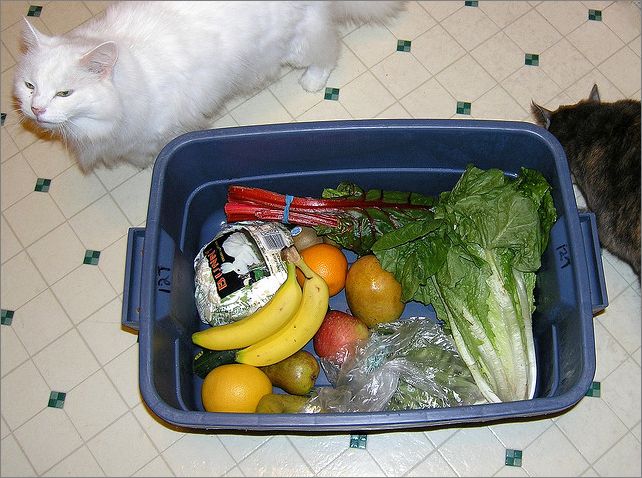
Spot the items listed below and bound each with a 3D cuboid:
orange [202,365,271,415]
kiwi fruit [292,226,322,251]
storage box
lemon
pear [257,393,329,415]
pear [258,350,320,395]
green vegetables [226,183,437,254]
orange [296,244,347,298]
[{"bbox_3d":[-0.253,0.450,1.723,0.091,0.070,0.106,30,46,34],"label":"orange"},{"bbox_3d":[-0.048,-0.004,1.913,0.079,0.066,0.072,-14,67,-2],"label":"kiwi fruit"},{"bbox_3d":[0.149,0.118,1.805,1.253,0.412,0.983,-2,88,-2],"label":"storage box"},{"bbox_3d":[0.181,0.154,1.871,0.151,0.166,0.236,-6,99,21],"label":"lemon"},{"bbox_3d":[-0.098,0.495,1.736,0.166,0.080,0.072,12,79,-16],"label":"pear"},{"bbox_3d":[-0.098,0.402,1.789,0.169,0.103,0.118,1,88,21],"label":"pear"},{"bbox_3d":[0.026,-0.090,2.014,0.779,0.242,0.282,1,39,4],"label":"green vegetables"},{"bbox_3d":[0.017,0.081,1.863,0.162,0.150,0.155,-53,46,25],"label":"orange"}]
